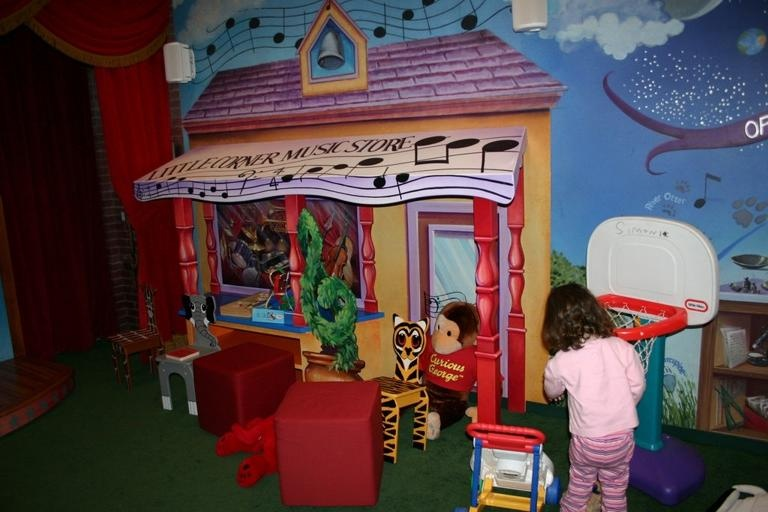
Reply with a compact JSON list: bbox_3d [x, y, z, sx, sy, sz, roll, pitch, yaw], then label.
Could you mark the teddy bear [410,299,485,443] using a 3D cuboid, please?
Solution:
[{"bbox_3d":[0.610,1.145,5.702,0.924,1.247,0.860,-1,23,-7],"label":"teddy bear"}]
